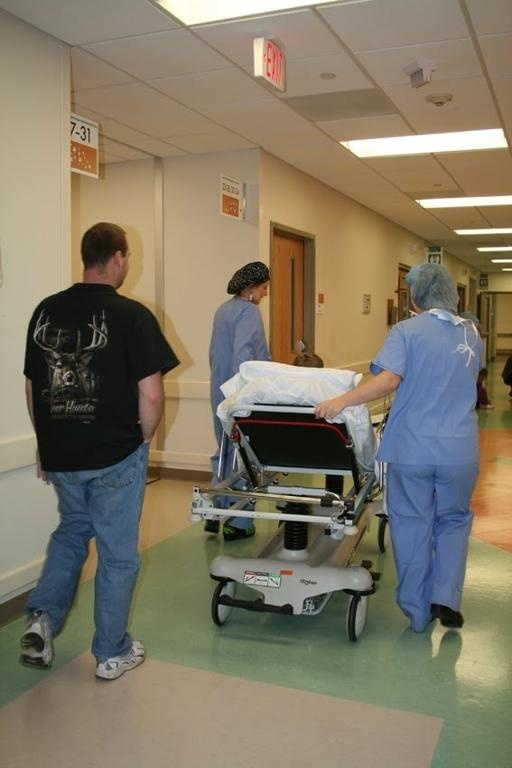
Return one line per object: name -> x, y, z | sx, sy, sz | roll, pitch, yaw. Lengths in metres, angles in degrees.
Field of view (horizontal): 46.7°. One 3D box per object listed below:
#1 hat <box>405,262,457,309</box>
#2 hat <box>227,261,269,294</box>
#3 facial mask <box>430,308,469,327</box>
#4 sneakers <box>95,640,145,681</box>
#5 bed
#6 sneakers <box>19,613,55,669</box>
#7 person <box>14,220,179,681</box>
hat -> 0.742, -0.397, 2.655 | 0.175, 0.245, 0.243 | -6, 2, 4
hat -> -0.056, -0.656, 3.728 | 0.261, 0.196, 0.191 | 1, 1, 7
facial mask -> 0.814, -0.275, 2.518 | 0.106, 0.032, 0.099 | 13, -2, -41
sneakers -> -0.488, 0.979, 2.161 | 0.070, 0.084, 0.200 | 6, 11, 25
bed -> 0.280, 0.490, 2.925 | 0.724, 1.067, 1.471 | 2, 4, 16
sneakers -> -0.710, 0.846, 1.989 | 0.099, 0.174, 0.118 | -2, 12, -1
person -> -0.562, 0.230, 2.107 | 0.534, 1.609, 0.376 | 1, 1, -12
